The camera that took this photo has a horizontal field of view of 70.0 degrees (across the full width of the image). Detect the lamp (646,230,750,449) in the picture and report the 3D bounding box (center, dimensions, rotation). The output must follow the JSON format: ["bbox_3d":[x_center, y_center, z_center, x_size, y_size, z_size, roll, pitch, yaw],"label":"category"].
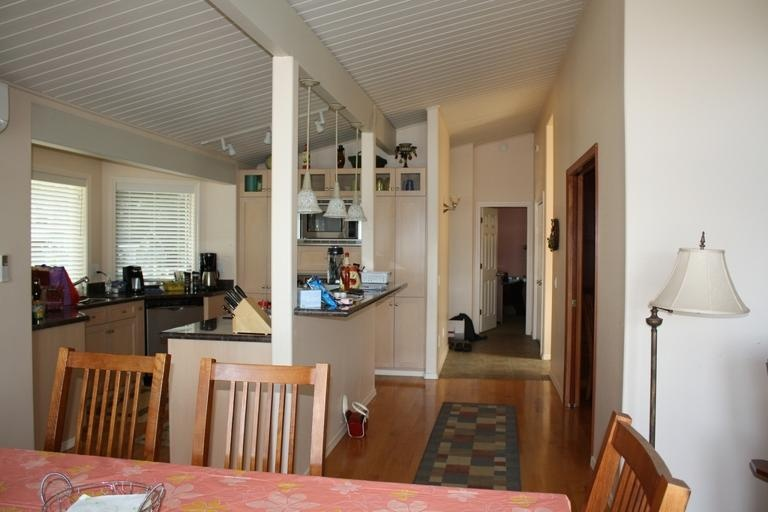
[{"bbox_3d":[1.994,0.628,3.555,0.541,1.514,0.580,1,5,26],"label":"lamp"}]

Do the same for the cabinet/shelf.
[{"bbox_3d":[-1.478,0.665,5.855,3.163,3.359,3.065,0,4,11],"label":"cabinet/shelf"}]

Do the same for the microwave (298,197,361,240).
[{"bbox_3d":[-0.728,-0.354,6.988,0.715,0.494,0.494,2,-1,1],"label":"microwave"}]

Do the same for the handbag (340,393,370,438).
[{"bbox_3d":[-0.282,1.578,5.374,0.229,0.356,0.360,-3,-5,10],"label":"handbag"}]

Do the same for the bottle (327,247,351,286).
[{"bbox_3d":[-0.459,0.083,5.203,0.186,0.346,0.255,-1,5,-6],"label":"bottle"}]
